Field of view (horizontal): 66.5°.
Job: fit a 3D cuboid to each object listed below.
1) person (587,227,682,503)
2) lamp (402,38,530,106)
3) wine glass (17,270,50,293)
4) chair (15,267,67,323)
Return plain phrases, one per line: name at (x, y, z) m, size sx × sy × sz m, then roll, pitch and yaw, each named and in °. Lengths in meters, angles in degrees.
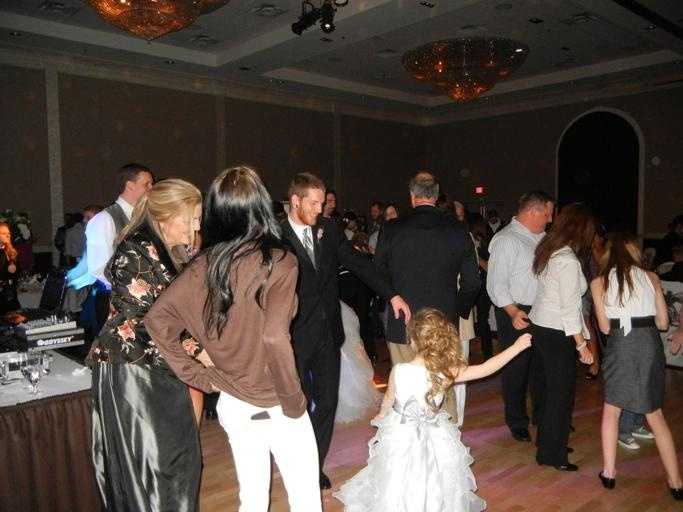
person at (2.083, 0.761, 3.682) m, size 0.628 × 1.811 × 0.394 m, roll 3°, pitch 8°, yaw 27°
lamp at (1.804, -2.629, 7.692) m, size 1.643 × 0.638 × 1.628 m, roll 5°, pitch 4°, yaw -32°
wine glass at (-3.451, 0.294, 5.777) m, size 0.259 × 0.101 × 0.215 m, roll 4°, pitch 4°, yaw 34°
chair at (-2.388, 0.338, 4.246) m, size 0.503 × 0.499 × 0.406 m, roll -1°, pitch -3°, yaw 40°
